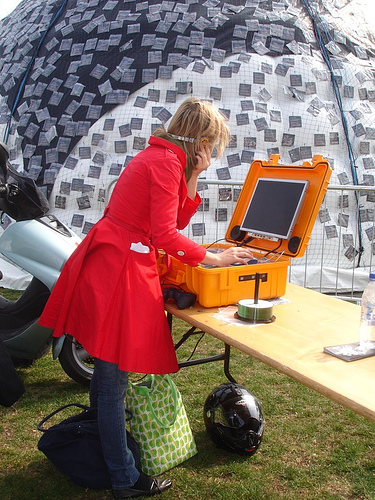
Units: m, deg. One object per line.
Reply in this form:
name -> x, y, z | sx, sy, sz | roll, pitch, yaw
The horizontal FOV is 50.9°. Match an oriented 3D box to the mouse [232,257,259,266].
mouse -> 0.329, 0.062, 2.084 | 0.069, 0.018, 0.070 | -5, 12, -23

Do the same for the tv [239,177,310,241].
tv -> 0.507, -0.221, 2.232 | 0.039, 0.313, 0.382 | 22, 3, -31
